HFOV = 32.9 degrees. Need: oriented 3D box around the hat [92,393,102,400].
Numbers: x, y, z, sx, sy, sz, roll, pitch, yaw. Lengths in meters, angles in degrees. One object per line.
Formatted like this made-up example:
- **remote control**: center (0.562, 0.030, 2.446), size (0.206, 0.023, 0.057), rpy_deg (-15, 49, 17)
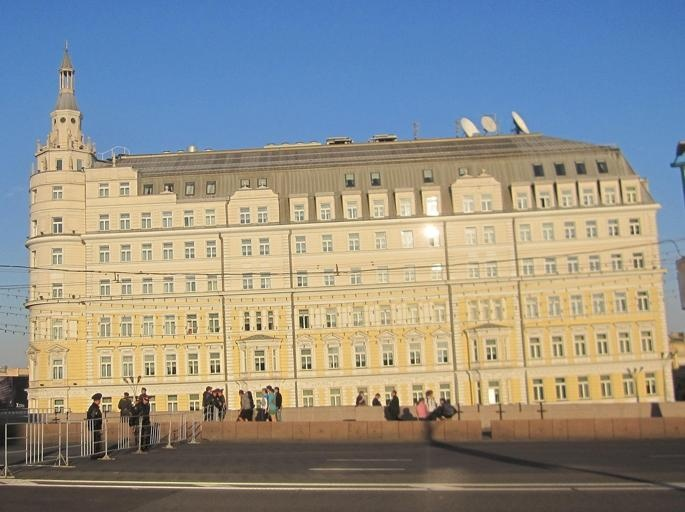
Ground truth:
- **hat**: center (-12.616, 7.236, 59.548), size (0.634, 0.182, 0.589), rpy_deg (-3, 6, 4)
